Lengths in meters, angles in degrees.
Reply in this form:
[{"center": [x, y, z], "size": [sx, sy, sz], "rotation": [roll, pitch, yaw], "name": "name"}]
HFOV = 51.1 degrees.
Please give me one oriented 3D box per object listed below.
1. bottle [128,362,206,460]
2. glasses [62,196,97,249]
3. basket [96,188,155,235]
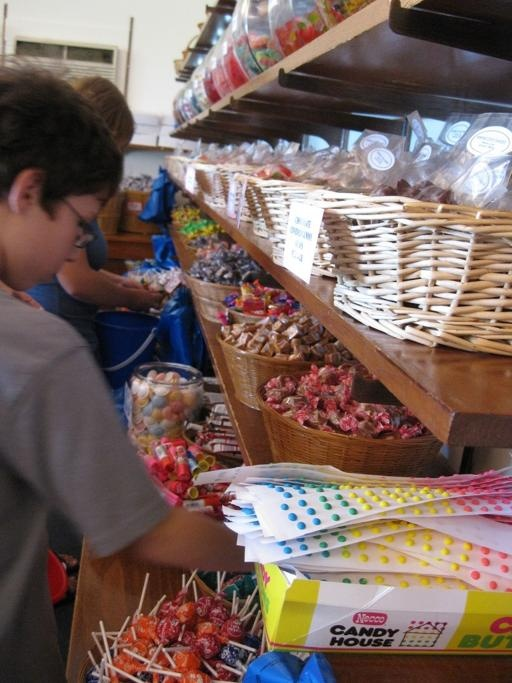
[{"center": [-0.270, 0.218, 1.722], "size": [0.261, 0.239, 0.256], "rotation": [5, 7, -1], "name": "bottle"}, {"center": [-0.313, -0.203, 0.944], "size": [0.025, 0.077, 0.078], "rotation": [-24, -5, 10], "name": "glasses"}, {"center": [-1.235, -1.176, 5.022], "size": [0.531, 0.341, 0.452], "rotation": [8, 25, 7], "name": "basket"}]
